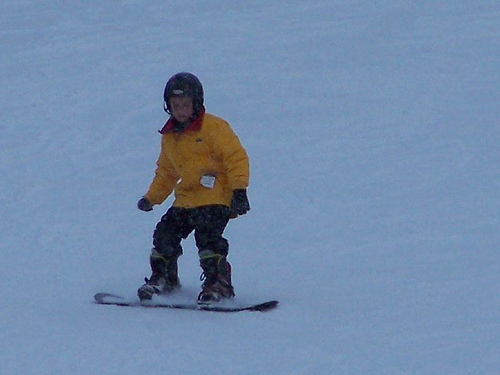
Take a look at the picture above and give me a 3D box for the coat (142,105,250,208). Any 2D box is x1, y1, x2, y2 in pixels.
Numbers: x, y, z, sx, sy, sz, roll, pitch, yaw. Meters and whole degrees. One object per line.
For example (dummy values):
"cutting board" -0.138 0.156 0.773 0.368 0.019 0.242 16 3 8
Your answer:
"coat" -0.589 -0.322 11.395 1.290 0.631 1.188 -6 86 31

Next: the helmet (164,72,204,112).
"helmet" -0.730 -1.016 11.308 0.428 0.524 0.534 5 104 16

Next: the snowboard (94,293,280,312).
"snowboard" -0.693 1.224 10.842 1.977 0.667 0.176 4 76 -4
